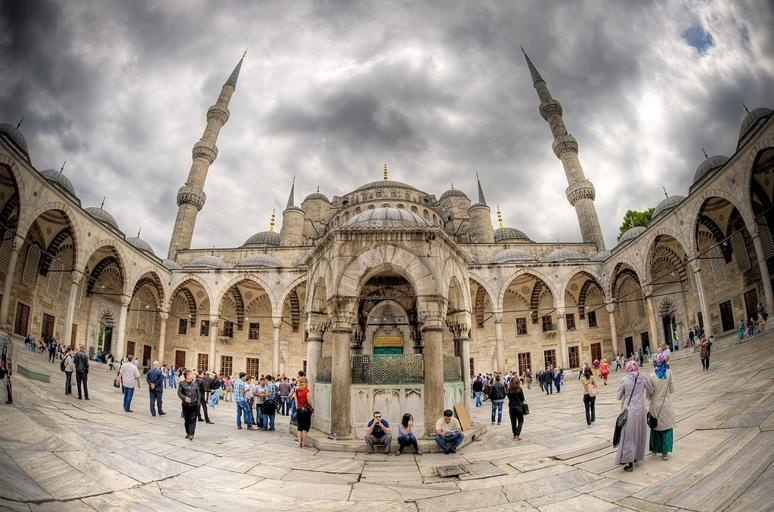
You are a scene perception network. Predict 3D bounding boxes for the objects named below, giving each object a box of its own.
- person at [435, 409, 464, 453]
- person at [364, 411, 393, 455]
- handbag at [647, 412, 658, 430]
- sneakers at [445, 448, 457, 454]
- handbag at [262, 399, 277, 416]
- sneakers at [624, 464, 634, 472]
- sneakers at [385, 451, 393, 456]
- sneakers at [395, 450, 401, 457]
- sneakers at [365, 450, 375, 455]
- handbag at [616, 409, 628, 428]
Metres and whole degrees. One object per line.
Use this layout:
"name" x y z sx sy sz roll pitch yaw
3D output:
"person" 1.361 3.819 9.450 0.610 0.893 0.571 -1 -8 6
"person" -0.196 3.873 9.346 0.726 1.050 0.766 0 -35 -2
"handbag" 4.611 2.889 7.504 0.113 0.277 0.200 -7 11 -1
"sneakers" 1.358 4.207 9.206 0.224 0.091 0.083 -1 -23 0
"handbag" -3.221 4.199 11.890 0.404 0.366 0.378 -1 -30 -1
"sneakers" 4.060 3.549 7.215 0.130 0.130 0.140 -4 -9 26
"sneakers" 0.024 4.225 9.195 0.138 0.066 0.191 0 -8 -4
"sneakers" 0.234 4.239 9.213 0.139 0.047 0.153 0 -8 -4
"sneakers" -0.374 4.221 9.213 0.155 0.060 0.107 1 -8 -10
"handbag" 4.046 2.800 7.337 0.069 0.278 0.179 20 3 -4
